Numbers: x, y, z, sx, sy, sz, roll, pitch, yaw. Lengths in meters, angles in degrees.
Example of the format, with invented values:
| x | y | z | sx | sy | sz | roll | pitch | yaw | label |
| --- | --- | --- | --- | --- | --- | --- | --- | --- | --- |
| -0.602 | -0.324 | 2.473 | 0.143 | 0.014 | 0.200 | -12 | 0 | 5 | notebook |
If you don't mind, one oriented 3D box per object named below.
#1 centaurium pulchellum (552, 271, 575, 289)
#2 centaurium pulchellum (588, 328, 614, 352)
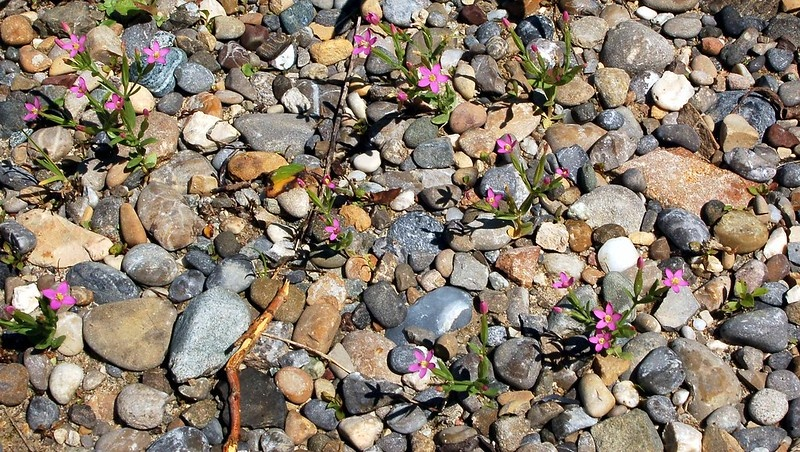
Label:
| x | y | z | sx | sy | sz | roll | pitch | yaw | label |
| --- | --- | --- | --- | --- | --- | --- | --- | --- | --- |
| 1.639 | 0.559 | 7.424 | 0.102 | 0.201 | 0.197 | 44 | 77 | -28 | centaurium pulchellum |
| 1.992 | 1.126 | 7.240 | 0.217 | 0.083 | 0.237 | 4 | 68 | 2 | centaurium pulchellum |
